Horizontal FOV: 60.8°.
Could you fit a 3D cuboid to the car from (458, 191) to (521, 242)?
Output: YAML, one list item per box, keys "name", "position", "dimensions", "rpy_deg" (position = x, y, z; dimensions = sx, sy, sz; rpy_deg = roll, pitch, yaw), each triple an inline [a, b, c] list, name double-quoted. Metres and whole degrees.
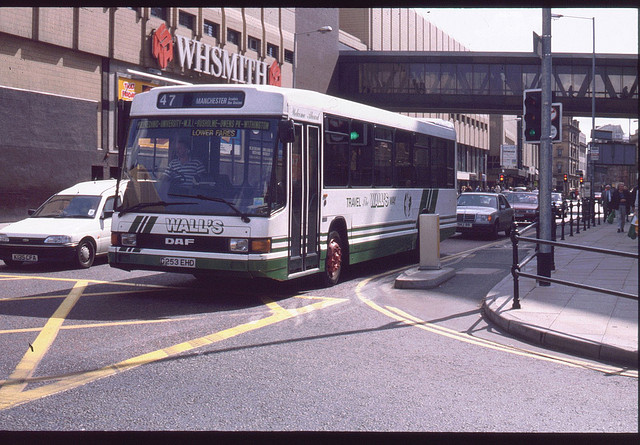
- name: "car"
  position: [7.573, -0.305, 24.522]
  dimensions: [2.309, 2.055, 4.568]
  rpy_deg: [3, 6, 30]

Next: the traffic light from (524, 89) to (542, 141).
- name: "traffic light"
  position: [4.671, -2.341, 11.959]
  dimensions: [0.354, 1.116, 0.332]
  rpy_deg: [1, 5, 17]

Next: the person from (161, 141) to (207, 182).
- name: "person"
  position: [-2.386, -1.057, 9.697]
  dimensions: [0.686, 0.536, 0.236]
  rpy_deg: [-2, -4, 14]

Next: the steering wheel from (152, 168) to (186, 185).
- name: "steering wheel"
  position: [-2.702, -0.821, 9.754]
  dimensions: [0.659, 0.291, 0.125]
  rpy_deg: [2, 6, 26]

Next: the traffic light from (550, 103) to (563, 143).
- name: "traffic light"
  position: [5.394, -2.279, 12.458]
  dimensions: [0.226, 0.975, 1.540]
  rpy_deg: [2, 6, 25]

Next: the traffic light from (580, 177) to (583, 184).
- name: "traffic light"
  position: [26.866, -4.324, 56.074]
  dimensions: [0.240, 0.520, 0.557]
  rpy_deg: [2, 6, 24]

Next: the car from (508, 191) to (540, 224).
- name: "car"
  position: [10.469, -0.709, 28.039]
  dimensions: [1.490, 1.348, 3.376]
  rpy_deg: [-1, -3, 23]

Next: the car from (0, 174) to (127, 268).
- name: "car"
  position: [-6.368, 0.064, 14.706]
  dimensions: [2.304, 2.017, 4.090]
  rpy_deg: [-1, -1, 18]
